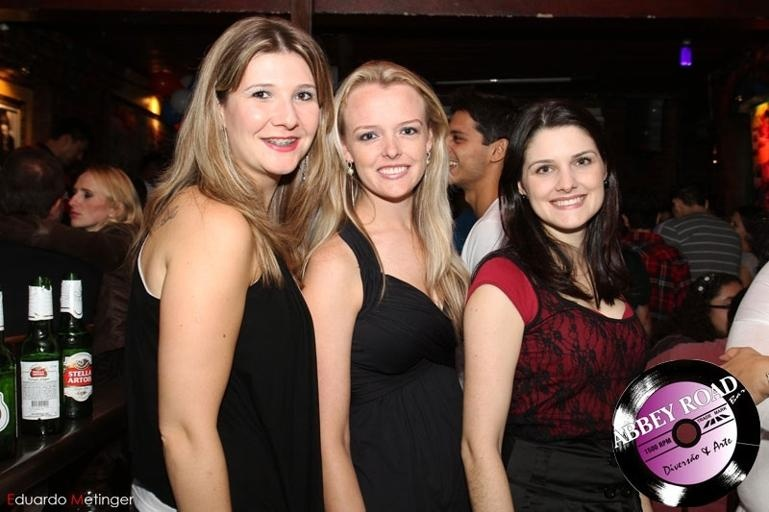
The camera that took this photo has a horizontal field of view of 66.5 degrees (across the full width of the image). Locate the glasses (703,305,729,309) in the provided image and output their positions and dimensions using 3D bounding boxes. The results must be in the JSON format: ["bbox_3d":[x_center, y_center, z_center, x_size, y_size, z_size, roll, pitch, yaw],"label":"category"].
[{"bbox_3d":[2.238,0.338,3.928,0.116,0.029,0.036,0,-1,37],"label":"glasses"}]
